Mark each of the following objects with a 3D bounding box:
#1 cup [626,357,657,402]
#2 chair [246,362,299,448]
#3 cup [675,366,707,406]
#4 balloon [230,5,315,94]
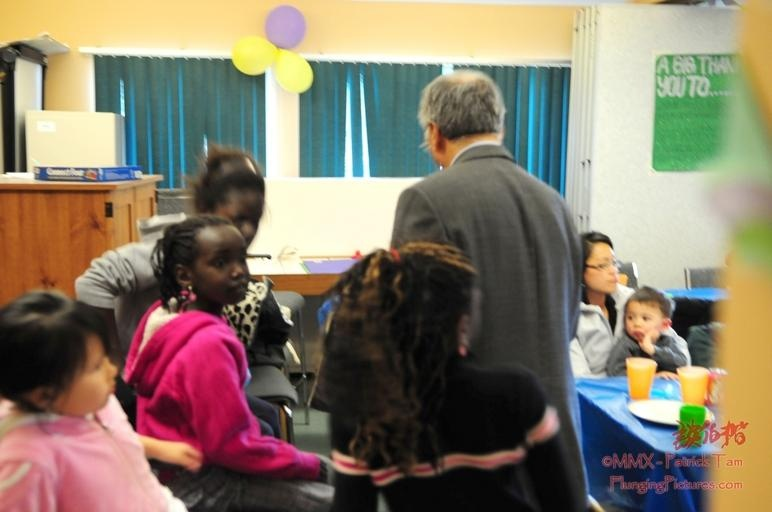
[{"bbox_3d":[0.211,0.104,0.532,0.024,0.030,0.026,-8,8,1],"label":"cup"},{"bbox_3d":[-0.195,0.286,1.249,0.116,0.184,0.110,0,24,-1],"label":"chair"},{"bbox_3d":[0.190,0.082,0.392,0.020,0.023,0.020,-4,-2,0],"label":"cup"},{"bbox_3d":[-0.723,-1.303,4.098,0.522,0.506,0.271,-1,1,-10],"label":"balloon"}]
